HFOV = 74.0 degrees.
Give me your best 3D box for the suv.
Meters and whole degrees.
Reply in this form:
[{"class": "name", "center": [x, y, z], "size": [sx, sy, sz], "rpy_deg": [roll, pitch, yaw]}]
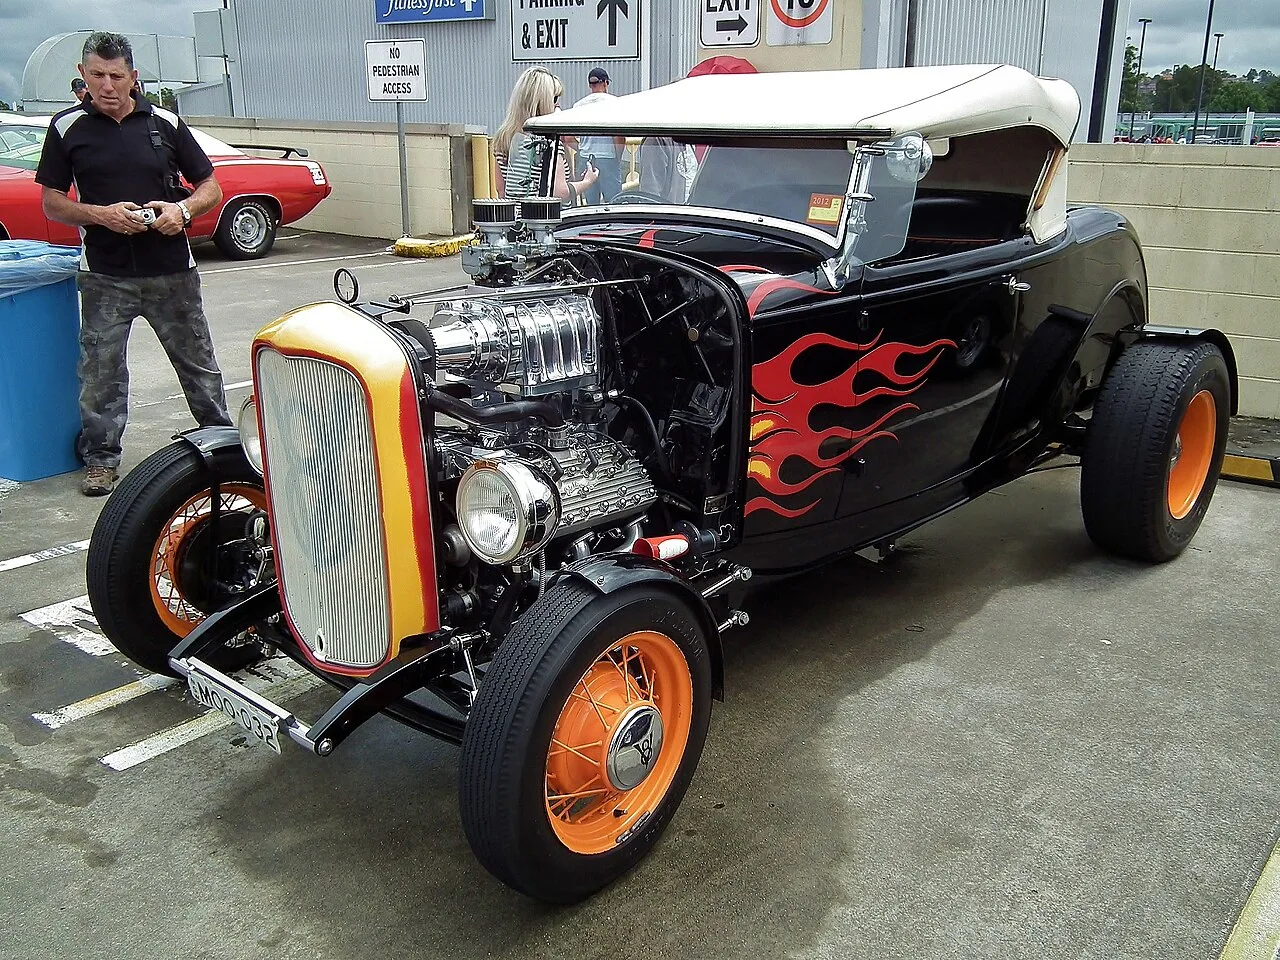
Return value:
[{"class": "suv", "center": [0.622, -0.442, 4.015], "size": [5.115, 2.140, 2.668], "rpy_deg": [-18, 22, -40]}]
